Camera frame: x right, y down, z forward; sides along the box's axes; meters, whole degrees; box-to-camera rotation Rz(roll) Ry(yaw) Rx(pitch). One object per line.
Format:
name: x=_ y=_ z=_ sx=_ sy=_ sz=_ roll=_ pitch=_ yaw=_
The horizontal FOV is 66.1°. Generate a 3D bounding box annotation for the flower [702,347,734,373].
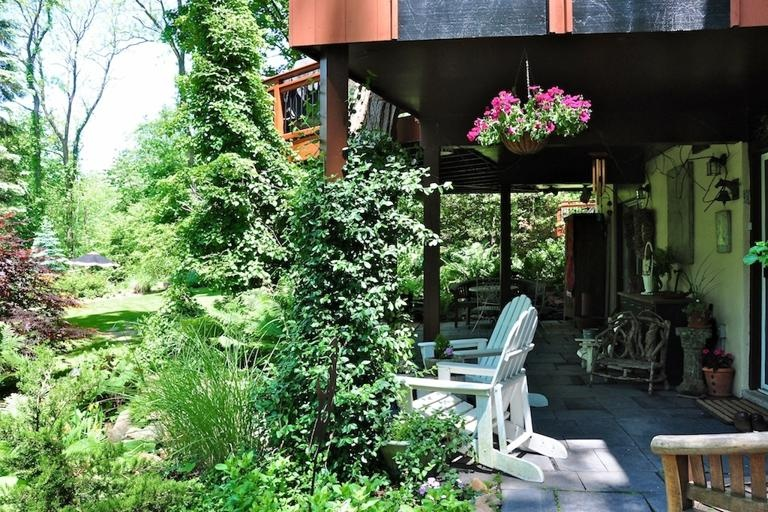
flower: x=4.034 y=1.252 z=7.171 sx=0.244 sy=0.158 sz=0.238 roll=-9 pitch=10 yaw=2

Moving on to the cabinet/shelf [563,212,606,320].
cabinet/shelf: x=4.002 y=0.189 z=11.615 sx=0.668 sy=2.208 sz=2.150 roll=0 pitch=0 yaw=11

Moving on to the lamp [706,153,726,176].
lamp: x=4.156 y=-1.138 z=7.336 sx=0.197 sy=0.377 sz=0.198 roll=2 pitch=3 yaw=0

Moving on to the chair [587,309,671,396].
chair: x=3.230 y=1.090 z=8.007 sx=0.883 sy=1.416 sz=1.178 roll=2 pitch=-1 yaw=-36

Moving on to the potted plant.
potted plant: x=4.120 y=0.423 z=7.574 sx=0.412 sy=0.852 sz=0.928 roll=0 pitch=2 yaw=29

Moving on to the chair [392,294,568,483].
chair: x=0.912 y=1.242 z=6.051 sx=1.668 sy=1.670 sz=1.173 roll=5 pitch=6 yaw=35

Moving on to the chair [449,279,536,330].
chair: x=1.870 y=0.862 z=11.730 sx=1.234 sy=0.763 sz=1.143 roll=-1 pitch=-3 yaw=13

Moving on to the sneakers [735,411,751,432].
sneakers: x=3.665 y=1.685 z=6.003 sx=0.138 sy=0.203 sz=0.199 roll=-1 pitch=2 yaw=5

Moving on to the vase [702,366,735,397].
vase: x=4.057 y=1.499 z=7.070 sx=0.313 sy=0.284 sz=0.322 roll=1 pitch=-9 yaw=-2
